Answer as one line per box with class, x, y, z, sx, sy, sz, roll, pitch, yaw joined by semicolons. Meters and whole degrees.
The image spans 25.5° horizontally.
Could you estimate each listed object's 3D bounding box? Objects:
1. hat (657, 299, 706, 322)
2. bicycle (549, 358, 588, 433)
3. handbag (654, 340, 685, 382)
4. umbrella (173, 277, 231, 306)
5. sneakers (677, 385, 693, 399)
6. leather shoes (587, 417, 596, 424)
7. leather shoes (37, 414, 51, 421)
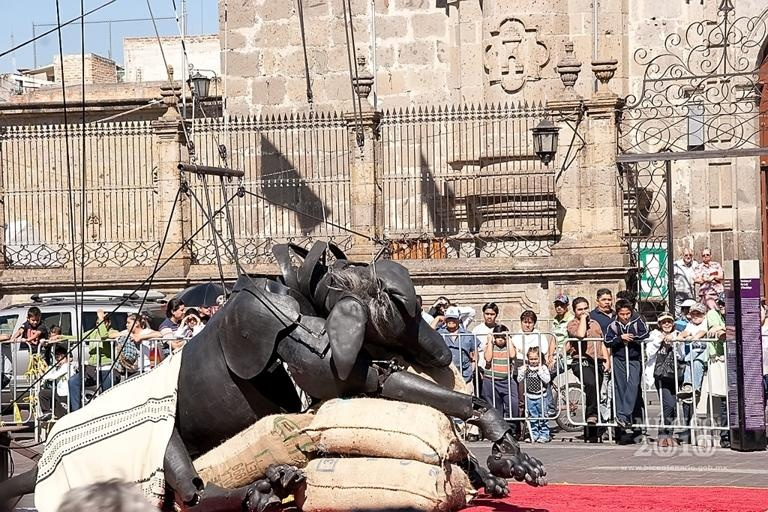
hat;4.754;0.943;27.019;0.696;0.360;0.436;-22;0;18
bicycle;2.769;2.140;25.967;0.539;1.120;0.860;-1;-2;5
handbag;4.263;1.557;25.344;0.560;0.626;0.347;2;-11;-3
umbrella;-3.229;0.642;29.904;0.852;0.302;0.837;-4;2;-14
sneakers;4.479;2.014;25.237;0.175;0.233;0.083;5;9;13
leather shoes;3.114;2.453;25.540;0.187;0.097;0.124;-2;-3;16
leather shoes;-5.288;2.489;26.322;0.279;0.121;0.096;2;-2;31
